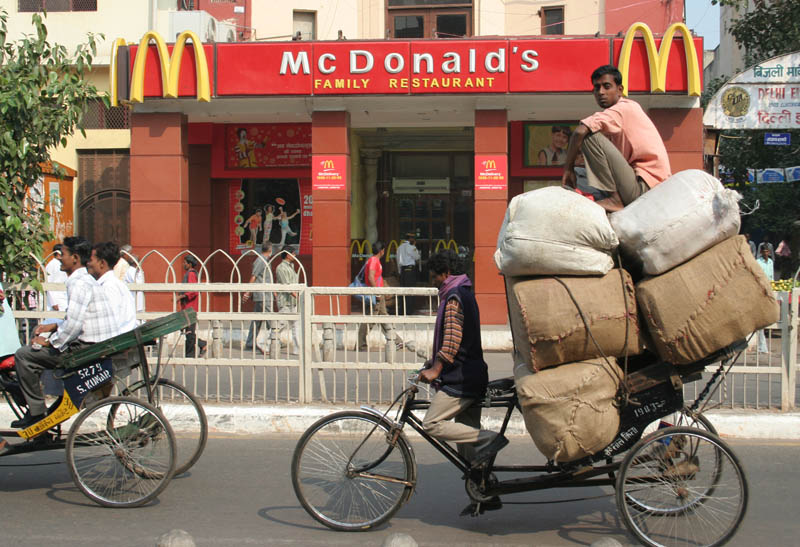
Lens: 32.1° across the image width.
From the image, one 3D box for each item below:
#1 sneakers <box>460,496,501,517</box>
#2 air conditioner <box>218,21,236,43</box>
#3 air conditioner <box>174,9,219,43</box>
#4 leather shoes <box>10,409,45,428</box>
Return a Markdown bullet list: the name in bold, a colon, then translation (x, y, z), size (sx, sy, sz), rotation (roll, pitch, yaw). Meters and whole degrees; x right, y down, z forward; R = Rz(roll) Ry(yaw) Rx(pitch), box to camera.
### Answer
- **sneakers**: translation (1.037, 2.988, 17.652), size (0.424, 0.164, 0.257), rotation (-3, -3, -26)
- **air conditioner**: translation (-3.620, -5.073, 29.075), size (0.351, 0.479, 0.699), rotation (-1, 2, -9)
- **air conditioner**: translation (-4.140, -5.100, 28.576), size (0.668, 0.769, 1.188), rotation (-2, 2, -34)
- **leather shoes**: translation (-4.946, 1.972, 18.505), size (0.546, 0.229, 0.184), rotation (-2, -2, 1)
